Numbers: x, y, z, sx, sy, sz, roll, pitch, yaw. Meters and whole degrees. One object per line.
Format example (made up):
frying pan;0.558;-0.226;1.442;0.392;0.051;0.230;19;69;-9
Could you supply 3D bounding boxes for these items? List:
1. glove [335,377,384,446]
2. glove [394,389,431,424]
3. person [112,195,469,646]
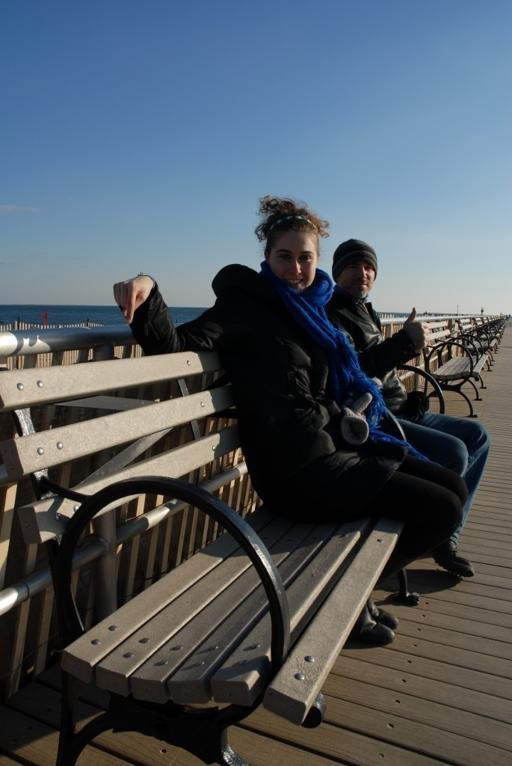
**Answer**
glove;0.364;0.103;1.918;0.090;0.124;0.246;-27;27;33
glove;0.946;0.142;3.252;0.205;0.180;0.156;3;0;27
person;0.192;0.148;1.949;1.169;1.613;0.653;-12;2;-9
